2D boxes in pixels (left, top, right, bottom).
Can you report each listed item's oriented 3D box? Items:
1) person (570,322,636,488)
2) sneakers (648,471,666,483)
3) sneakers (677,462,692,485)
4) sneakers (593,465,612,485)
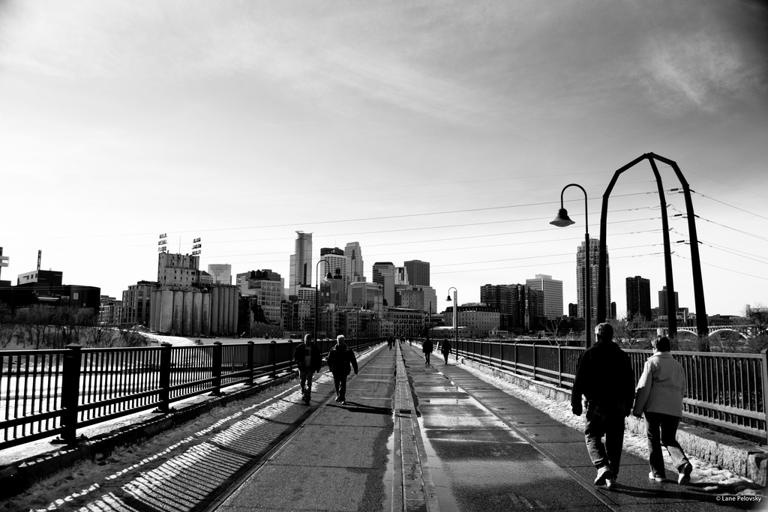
[{"bbox_3d":[3.781,2.530,10.447,1.064,2.692,0.636,0,-4,-30],"label":"person"},{"bbox_3d":[4.690,3.779,10.381,0.184,0.154,0.277,2,-6,-43],"label":"sneakers"},{"bbox_3d":[5.131,3.661,10.263,0.168,0.454,0.200,3,16,16],"label":"sneakers"},{"bbox_3d":[3.675,3.668,10.102,0.244,0.345,0.199,-3,-4,11],"label":"sneakers"}]
